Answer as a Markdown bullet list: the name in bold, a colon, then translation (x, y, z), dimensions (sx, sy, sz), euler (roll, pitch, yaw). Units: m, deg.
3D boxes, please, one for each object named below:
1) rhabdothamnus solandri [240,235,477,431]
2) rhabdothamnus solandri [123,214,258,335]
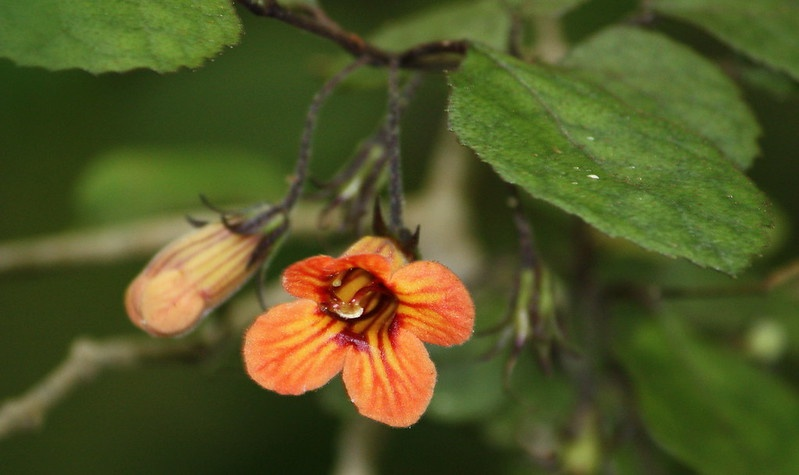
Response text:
- **rhabdothamnus solandri**: translation (-0.112, 0.182, 2.200), dimensions (0.623, 0.527, 0.231), euler (-3, 33, 13)
- **rhabdothamnus solandri**: translation (-0.587, 0.108, 2.323), dimensions (0.228, 0.182, 0.404), euler (29, 60, 38)
